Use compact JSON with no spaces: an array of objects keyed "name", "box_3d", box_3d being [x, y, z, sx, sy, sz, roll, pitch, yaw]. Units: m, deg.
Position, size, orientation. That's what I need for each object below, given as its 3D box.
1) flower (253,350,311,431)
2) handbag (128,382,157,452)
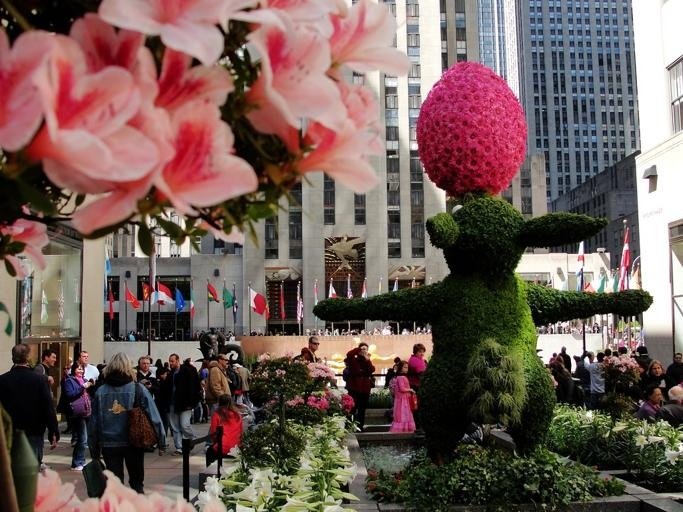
[{"name":"flower","box_3d":[-0.661,1.310,8.484,0.625,0.788,0.603,0,-29,-10]},{"name":"handbag","box_3d":[-1.957,1.616,8.085,0.269,0.669,0.309,1,-5,-14]}]
